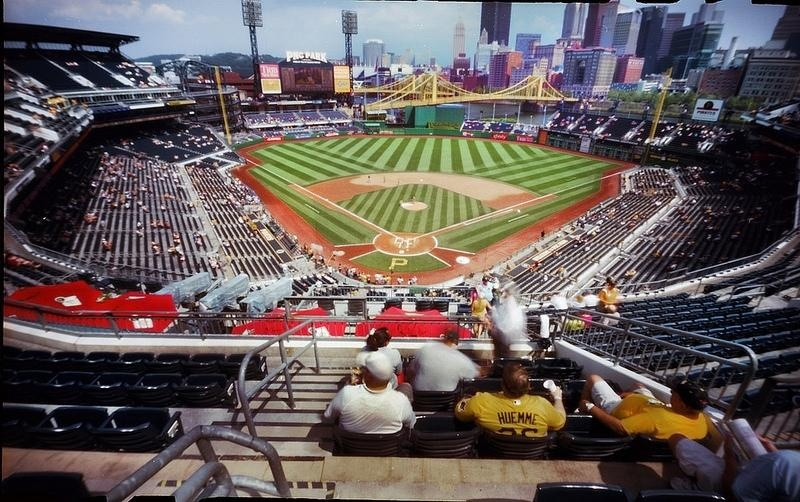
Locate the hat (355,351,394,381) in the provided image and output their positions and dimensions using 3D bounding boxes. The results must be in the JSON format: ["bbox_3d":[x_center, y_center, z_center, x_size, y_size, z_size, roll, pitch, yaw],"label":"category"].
[{"bbox_3d":[-0.381,2.016,7.269,0.428,0.559,0.251,-10,27,-11],"label":"hat"}]

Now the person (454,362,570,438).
[{"bbox_3d":[1.937,2.659,7.295,1.866,1.235,0.678,-1,26,6],"label":"person"}]

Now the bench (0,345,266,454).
[{"bbox_3d":[-5.989,3.138,8.835,5.281,1.089,2.699,2,21,12],"label":"bench"}]

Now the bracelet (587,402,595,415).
[{"bbox_3d":[3.505,2.922,7.740,0.194,0.124,0.160,-8,13,18],"label":"bracelet"}]

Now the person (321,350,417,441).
[{"bbox_3d":[-0.520,2.523,7.238,1.478,1.498,0.681,-5,26,-2],"label":"person"}]

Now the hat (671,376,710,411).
[{"bbox_3d":[5.025,2.519,7.276,0.581,0.323,0.615,-13,40,10],"label":"hat"}]

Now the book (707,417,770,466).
[{"bbox_3d":[5.450,3.059,6.742,0.695,0.200,0.654,-2,50,-2],"label":"book"}]
